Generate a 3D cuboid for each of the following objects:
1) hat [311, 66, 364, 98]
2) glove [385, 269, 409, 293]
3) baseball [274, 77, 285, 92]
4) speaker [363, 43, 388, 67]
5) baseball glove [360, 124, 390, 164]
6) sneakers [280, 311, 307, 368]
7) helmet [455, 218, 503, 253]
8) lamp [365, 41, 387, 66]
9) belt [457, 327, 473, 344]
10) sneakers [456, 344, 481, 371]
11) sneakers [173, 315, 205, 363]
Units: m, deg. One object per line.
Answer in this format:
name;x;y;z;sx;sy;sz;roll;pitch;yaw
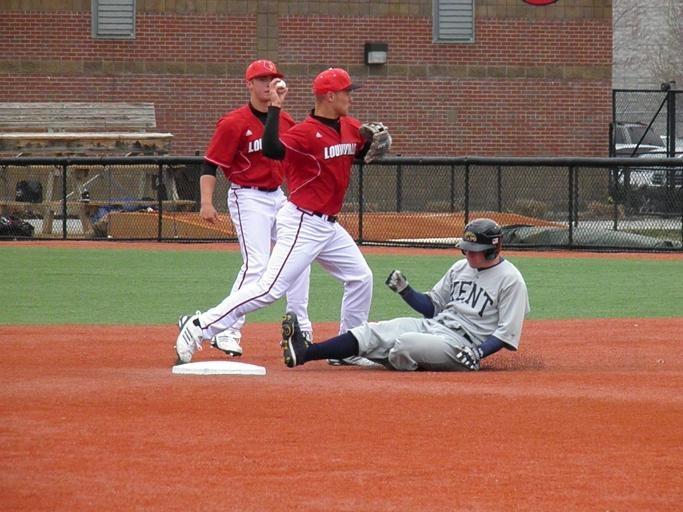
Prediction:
hat;-0.058;-1.989;16.828;0.484;0.261;0.312;-14;15;-5
glove;0.668;0.314;17.925;0.266;0.197;0.171;44;16;-4
baseball;-0.680;-1.910;16.586;0.126;0.151;0.233;2;14;3
speaker;0.735;-4.295;31.761;0.602;0.562;0.432;-2;3;-25
baseball glove;0.367;-1.319;16.980;0.303;0.397;0.404;-2;3;36
sneakers;-0.532;0.926;16.584;0.281;0.643;0.219;1;-3;-30
helmet;1.560;-0.219;16.768;0.572;0.395;0.426;-4;16;-33
lamp;0.742;-4.326;31.699;0.509;0.495;0.364;1;14;0
belt;1.413;0.902;16.765;0.187;0.068;0.138;47;-4;-22
sneakers;1.438;1.166;16.719;0.282;0.306;0.139;0;14;-3
sneakers;-1.715;0.935;16.795;0.299;0.660;0.245;1;-11;12
